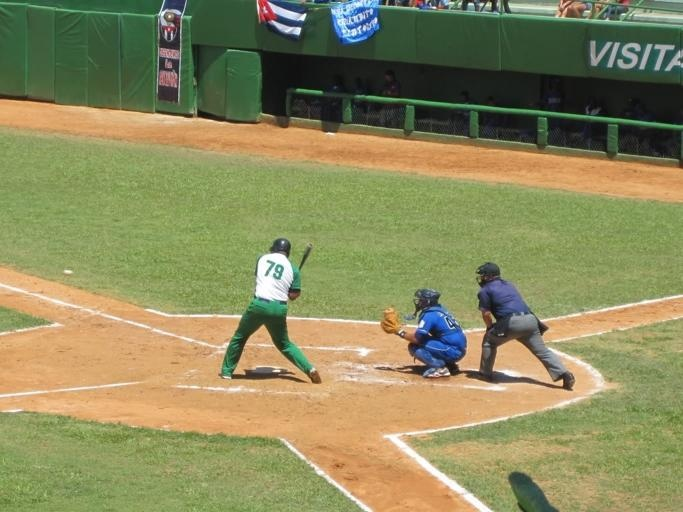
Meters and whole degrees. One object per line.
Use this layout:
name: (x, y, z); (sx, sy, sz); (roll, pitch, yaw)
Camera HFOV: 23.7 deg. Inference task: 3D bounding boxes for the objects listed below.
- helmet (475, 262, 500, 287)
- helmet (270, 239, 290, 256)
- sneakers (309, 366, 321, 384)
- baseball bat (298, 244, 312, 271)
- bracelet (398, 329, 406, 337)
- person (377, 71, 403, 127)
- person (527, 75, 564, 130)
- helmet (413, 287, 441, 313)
helmet: (3.012, 0.385, 34.128); (0.579, 0.514, 0.451); (5, 8, 22)
helmet: (-1.259, -0.190, 33.914); (0.316, 0.360, 0.400); (13, -2, -24)
sneakers: (-0.556, 2.515, 33.832); (0.212, 0.149, 0.437); (20, -30, 38)
baseball bat: (-0.862, 0.070, 34.450); (0.184, 0.147, 1.017); (33, -33, 3)
bracelet: (1.253, 1.640, 34.180); (0.127, 0.080, 0.162); (4, 14, 19)
person: (1.521, -5.064, 52.202); (0.648, 1.805, 1.036); (2, 7, 1)
person: (6.505, -5.158, 51.209); (0.870, 1.071, 2.599); (2, 7, 6)
helmet: (1.752, 0.924, 34.378); (0.533, 0.469, 0.459); (9, 9, 17)
